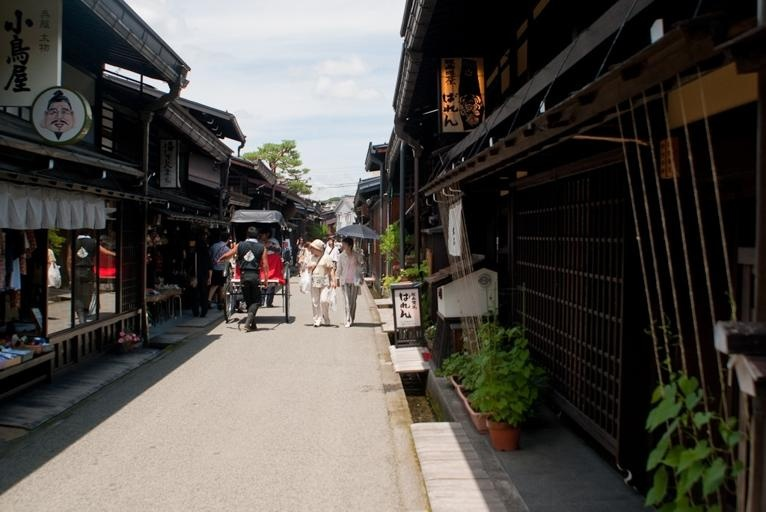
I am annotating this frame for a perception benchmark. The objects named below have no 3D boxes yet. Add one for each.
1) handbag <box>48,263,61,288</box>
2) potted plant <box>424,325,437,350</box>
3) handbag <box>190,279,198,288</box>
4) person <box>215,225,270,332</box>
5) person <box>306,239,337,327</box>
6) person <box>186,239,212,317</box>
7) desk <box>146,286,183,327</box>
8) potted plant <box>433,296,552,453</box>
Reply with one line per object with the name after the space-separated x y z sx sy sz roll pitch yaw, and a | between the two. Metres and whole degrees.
-5.579 0.344 9.606 0.085 0.442 0.446 -2 6 -12 | handbag
0.953 1.615 11.319 0.361 0.317 0.387 -1 -1 10 | potted plant
-5.421 0.768 16.227 0.193 0.252 0.256 4 -7 -37 | handbag
-3.490 0.588 14.548 1.065 2.597 1.370 1 -4 -36 | person
-1.665 0.756 15.110 0.750 2.366 0.728 -1 -2 -7 | person
-5.244 0.593 16.387 0.654 2.125 0.730 0 -3 19 | person
-5.883 1.262 15.307 0.657 1.057 3.193 -2 6 -13 | desk
1.396 1.456 7.400 1.245 1.644 1.535 -5 3 0 | potted plant
